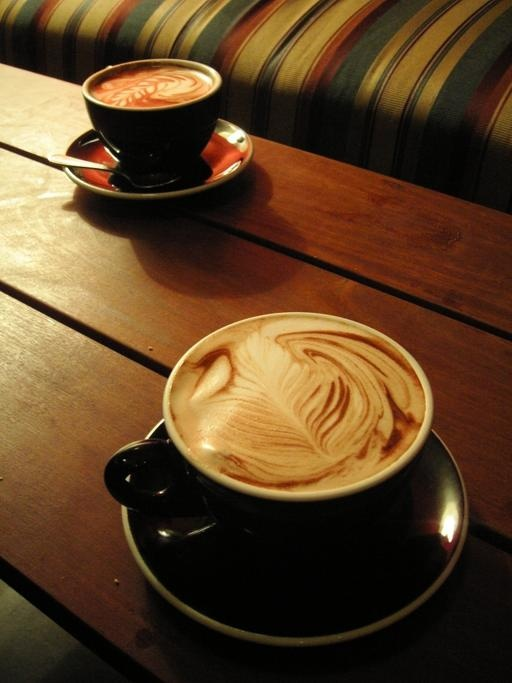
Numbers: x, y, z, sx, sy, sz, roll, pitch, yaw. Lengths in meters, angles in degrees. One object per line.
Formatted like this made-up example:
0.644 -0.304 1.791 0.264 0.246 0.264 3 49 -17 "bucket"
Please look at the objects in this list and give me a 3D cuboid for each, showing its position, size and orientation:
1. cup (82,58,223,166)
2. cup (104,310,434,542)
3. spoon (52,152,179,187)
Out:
-0.112 -0.247 0.616 0.135 0.084 0.134 -1 41 1 "cup"
0.005 0.045 0.280 0.128 0.052 0.106 -8 40 -7 "cup"
-0.141 -0.176 0.609 0.124 0.018 0.029 10 47 -10 "spoon"
